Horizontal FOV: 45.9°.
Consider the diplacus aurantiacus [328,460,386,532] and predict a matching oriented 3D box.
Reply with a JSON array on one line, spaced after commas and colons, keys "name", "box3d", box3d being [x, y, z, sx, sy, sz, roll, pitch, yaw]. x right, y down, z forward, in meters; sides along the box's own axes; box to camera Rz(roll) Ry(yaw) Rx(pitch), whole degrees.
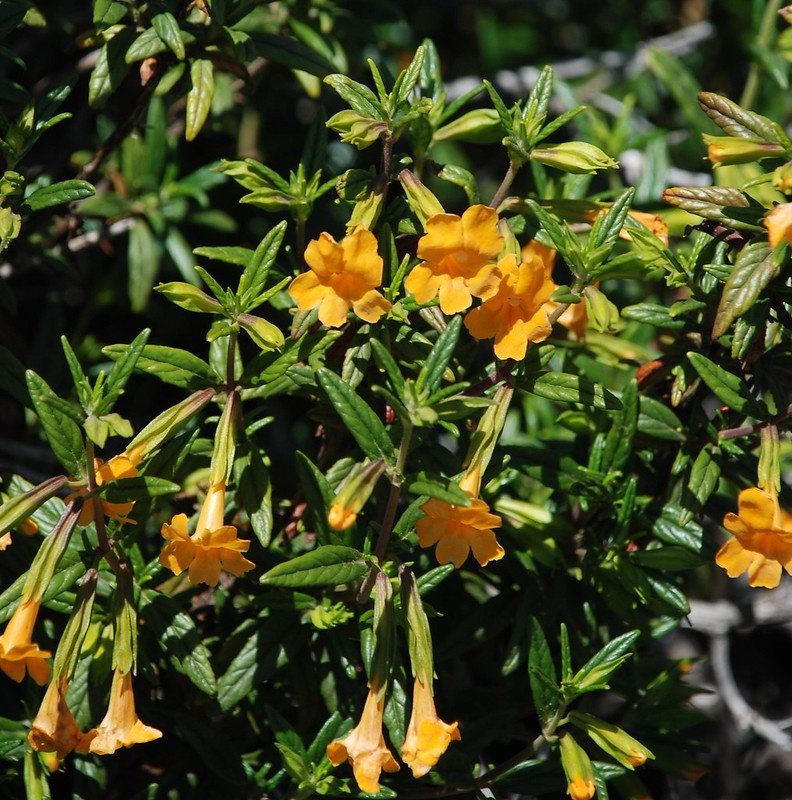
[{"name": "diplacus aurantiacus", "box3d": [-0.053, 0.146, 1.534, 0.055, 0.047, 0.176, 38, 39, 5]}]

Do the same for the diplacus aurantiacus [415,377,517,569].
[{"name": "diplacus aurantiacus", "box3d": [0.126, 0.125, 1.631, 0.167, 0.128, 0.301, 21, 97, -14]}]

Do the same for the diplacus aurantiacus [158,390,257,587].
[{"name": "diplacus aurantiacus", "box3d": [-0.319, 0.161, 1.712, 0.190, 0.142, 0.332, 9, 40, -8]}]

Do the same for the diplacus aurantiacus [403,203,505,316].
[{"name": "diplacus aurantiacus", "box3d": [0.104, -0.244, 1.623, 0.155, 0.154, 0.154, 10, 56, 2]}]
